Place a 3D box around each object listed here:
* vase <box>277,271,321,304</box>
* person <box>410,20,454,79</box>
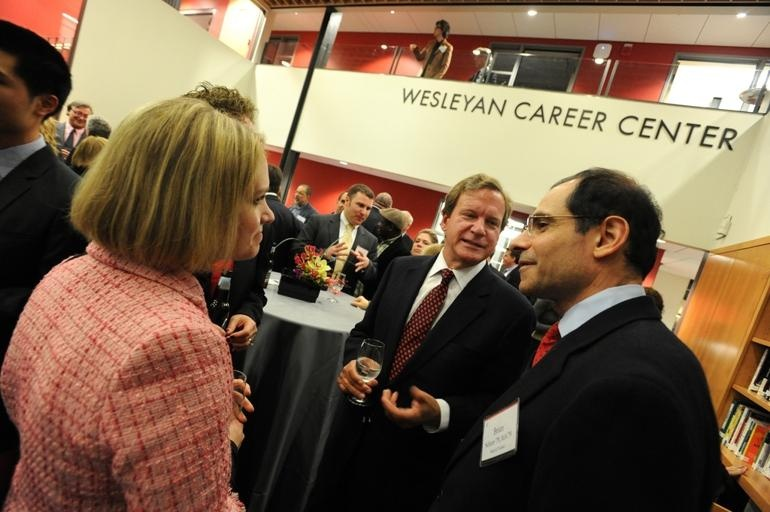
[{"bbox_3d":[-0.592,0.223,3.095,0.187,0.138,0.263,10,2,-8],"label":"vase"},{"bbox_3d":[0.856,-3.477,7.692,0.463,1.033,0.717,4,16,-45],"label":"person"}]
